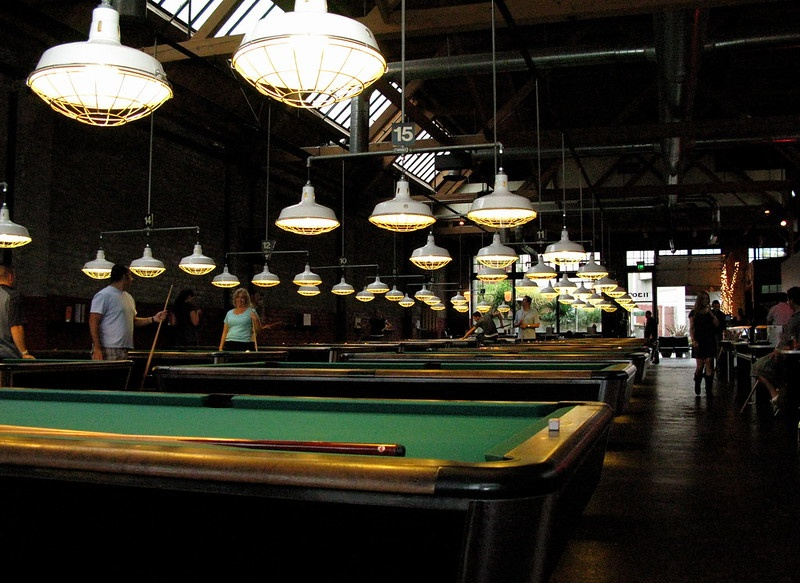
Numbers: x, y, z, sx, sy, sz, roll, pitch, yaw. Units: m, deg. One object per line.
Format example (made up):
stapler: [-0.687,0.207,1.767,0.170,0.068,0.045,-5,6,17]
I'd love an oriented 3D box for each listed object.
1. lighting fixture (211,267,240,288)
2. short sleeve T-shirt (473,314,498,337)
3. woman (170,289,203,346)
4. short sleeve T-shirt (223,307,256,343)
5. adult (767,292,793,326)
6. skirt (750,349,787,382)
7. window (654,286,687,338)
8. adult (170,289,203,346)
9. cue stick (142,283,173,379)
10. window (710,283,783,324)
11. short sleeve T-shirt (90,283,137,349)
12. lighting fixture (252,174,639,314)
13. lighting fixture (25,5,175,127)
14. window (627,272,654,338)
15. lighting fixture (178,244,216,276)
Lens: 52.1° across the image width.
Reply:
lighting fixture: [-2.379,-0.155,11.112,0.527,0.270,0.458,1,-3,-5]
short sleeve T-shirt: [1.409,0.570,13.644,0.293,0.409,0.649,-1,1,8]
woman: [-2.993,0.365,11.349,0.381,0.790,1.810,-1,1,-15]
short sleeve T-shirt: [-1.813,0.388,9.229,0.482,0.361,0.251,-2,-13,14]
adult: [5.565,0.327,12.057,0.313,0.358,0.996,0,1,23]
skirt: [4.212,0.862,9.406,0.340,0.445,0.980,0,1,22]
window: [9.057,0.738,27.234,0.772,0.998,0.678,8,4,3]
adult: [-3.038,0.292,11.232,0.272,0.654,0.240,7,-11,32]
cue stick: [-3.082,0.498,10.293,0.033,1.464,0.077,38,29,16]
window: [8.206,0.286,19.415,1.345,0.740,0.671,4,-6,-33]
short sleeve T-shirt: [-2.751,0.259,7.895,0.241,0.621,0.471,-1,1,12]
lighting fixture: [0.879,-1.046,16.963,5.917,0.829,4.364,5,-6,-34]
lighting fixture: [-1.661,-1.172,4.886,0.872,0.712,0.812,0,-7,-14]
window: [7.882,0.428,27.000,0.731,2.946,0.260,2,-28,11]
lighting fixture: [-2.461,-0.399,9.849,0.361,0.367,0.739,-1,1,-15]
